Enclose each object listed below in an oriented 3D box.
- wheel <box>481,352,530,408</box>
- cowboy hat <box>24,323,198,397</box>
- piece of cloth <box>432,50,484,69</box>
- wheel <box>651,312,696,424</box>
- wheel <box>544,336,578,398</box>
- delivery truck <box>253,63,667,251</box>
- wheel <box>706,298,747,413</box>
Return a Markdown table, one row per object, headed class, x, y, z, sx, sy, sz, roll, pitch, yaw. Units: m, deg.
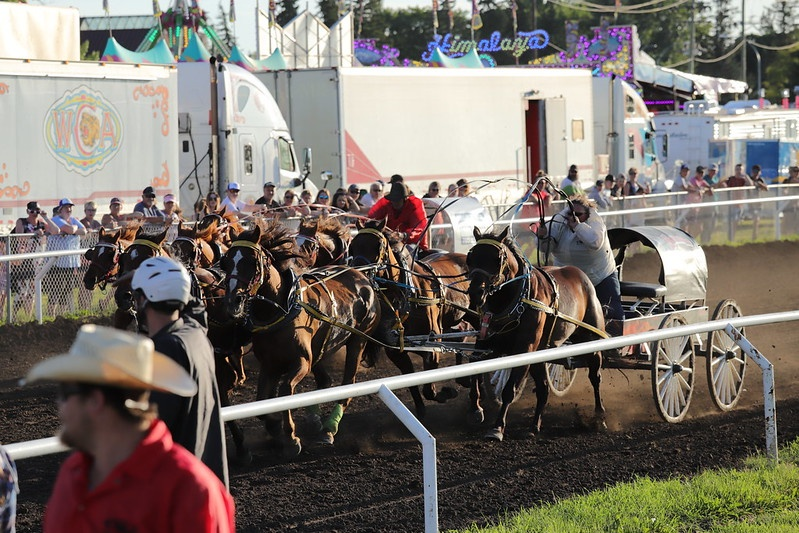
| class | x | y | z | sx | sy | sz | roll | pitch | yaw |
| --- | --- | --- | --- | --- | --- | --- | --- | --- | --- |
| wheel | 1.381 | 1.682 | 20.275 | 0.555 | 0.765 | 1.278 | -8 | -9 | 9 |
| cowboy hat | -2.849 | 1.026 | 14.428 | 1.012 | 0.371 | 0.958 | 13 | -23 | -10 |
| piece of cloth | 1.347 | -4.835 | 33.361 | 1.021 | 0.374 | 0.825 | -2 | 11 | -15 |
| wheel | 3.751 | 1.442 | 19.526 | 0.305 | 1.238 | 1.178 | 2 | -13 | 31 |
| wheel | 2.193 | 1.351 | 19.480 | 0.081 | 0.898 | 0.848 | 13 | 10 | 32 |
| delivery truck | 1.458 | -2.809 | 32.757 | 11.076 | 4.760 | 3.552 | -7 | 8 | -42 |
| wheel | 4.532 | 1.294 | 19.748 | 0.288 | 1.233 | 1.180 | 2 | -17 | 28 |
